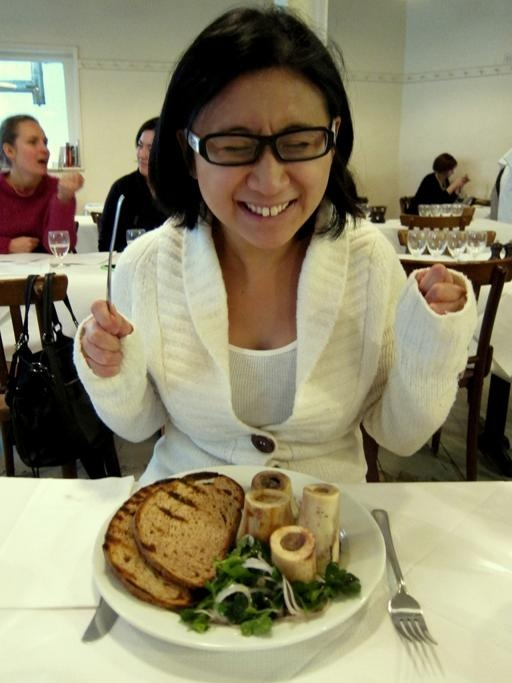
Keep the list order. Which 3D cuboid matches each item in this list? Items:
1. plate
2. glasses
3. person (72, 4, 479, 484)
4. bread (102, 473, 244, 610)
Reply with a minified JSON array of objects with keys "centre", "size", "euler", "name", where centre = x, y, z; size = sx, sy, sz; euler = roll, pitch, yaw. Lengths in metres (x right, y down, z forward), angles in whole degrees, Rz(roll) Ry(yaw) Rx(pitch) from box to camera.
[{"centre":[-0.008,0.253,0.658],"size":[0.346,0.024,0.266],"euler":[-5,18,-18],"name":"plate"},{"centre":[0.015,-0.322,0.927],"size":[0.221,0.064,0.083],"euler":[1,18,3],"name":"glasses"},{"centre":[0.010,-0.137,1.047],"size":[0.684,0.897,0.445],"euler":[1,18,2],"name":"person"},{"centre":[-0.101,0.238,0.692],"size":[0.083,0.023,0.180],"euler":[33,10,4],"name":"bread"}]
